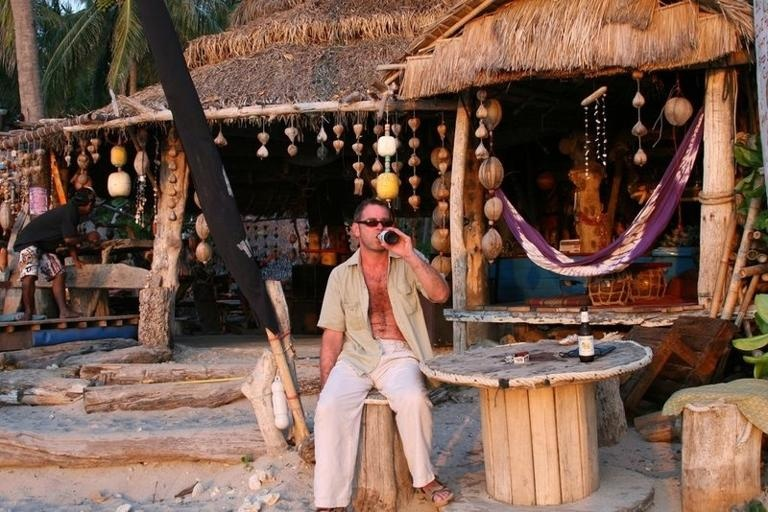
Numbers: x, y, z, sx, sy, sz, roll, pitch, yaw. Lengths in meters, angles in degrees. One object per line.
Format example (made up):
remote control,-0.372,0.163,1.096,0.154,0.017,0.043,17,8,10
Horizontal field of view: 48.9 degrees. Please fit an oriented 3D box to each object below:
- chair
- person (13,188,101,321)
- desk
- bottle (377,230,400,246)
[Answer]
chair,2.902,1.406,9.177,0.794,1.101,0.973,3,-34,-29
person,-4.508,-0.011,11.647,1.045,1.736,0.487,-7,7,-26
desk,1.417,1.509,7.473,1.489,0.985,1.556,-4,-4,-13
bottle,0.046,-0.172,7.782,0.124,0.145,0.205,-7,5,-11
